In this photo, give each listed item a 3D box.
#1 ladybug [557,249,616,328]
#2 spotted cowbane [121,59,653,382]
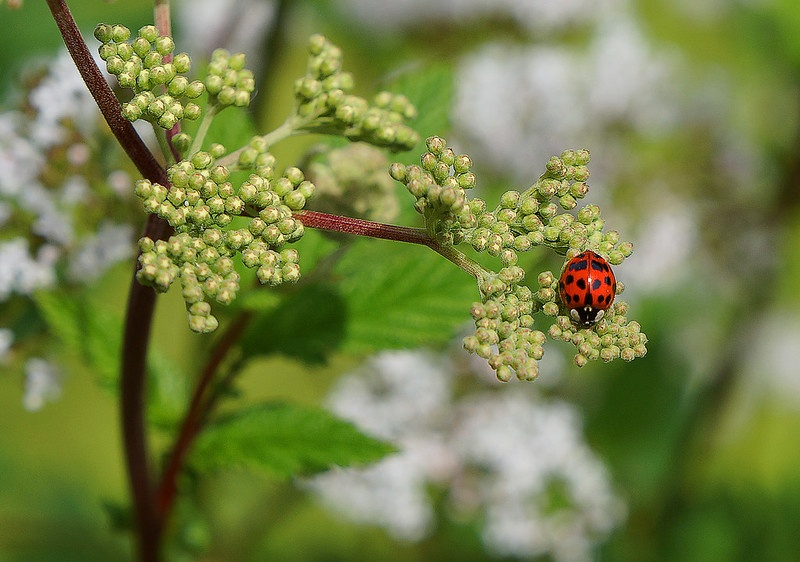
[{"bbox_3d":[0.426,0.001,1.906,0.132,0.189,0.066,4,-31,11],"label":"ladybug"},{"bbox_3d":[0.012,-0.086,1.847,1.161,0.380,0.414,9,-51,-8],"label":"spotted cowbane"}]
